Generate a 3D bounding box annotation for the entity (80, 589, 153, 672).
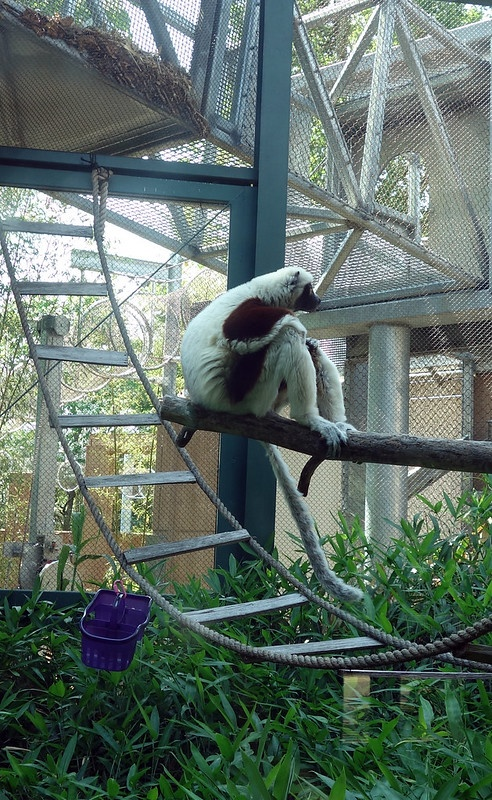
[{"bbox_3d":[-0.644,1.102,3.403,0.344,0.342,0.459,4,7,5],"label":"entity"}]
